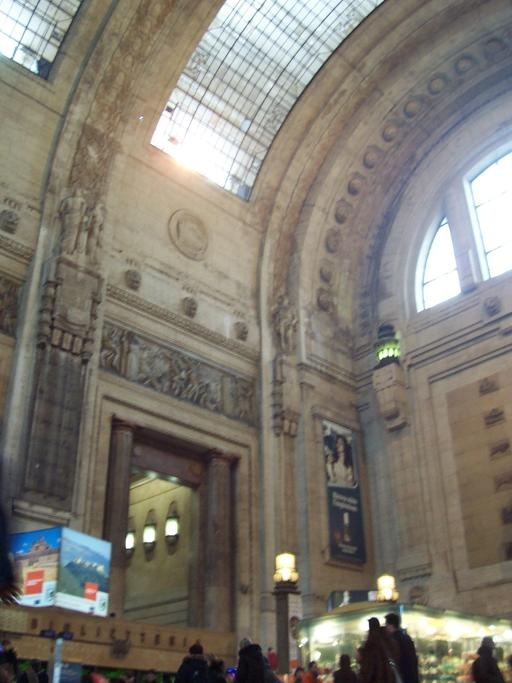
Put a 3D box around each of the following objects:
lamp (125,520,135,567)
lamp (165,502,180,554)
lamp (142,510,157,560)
[{"bbox_3d":[-3.852,6.135,17.940,0.268,1.418,0.878,5,-28,-12],"label":"lamp"},{"bbox_3d":[-2.368,5.171,16.341,0.272,1.349,0.477,20,-34,-36],"label":"lamp"},{"bbox_3d":[-3.152,5.676,17.174,0.234,1.438,0.714,16,-32,-31],"label":"lamp"}]
